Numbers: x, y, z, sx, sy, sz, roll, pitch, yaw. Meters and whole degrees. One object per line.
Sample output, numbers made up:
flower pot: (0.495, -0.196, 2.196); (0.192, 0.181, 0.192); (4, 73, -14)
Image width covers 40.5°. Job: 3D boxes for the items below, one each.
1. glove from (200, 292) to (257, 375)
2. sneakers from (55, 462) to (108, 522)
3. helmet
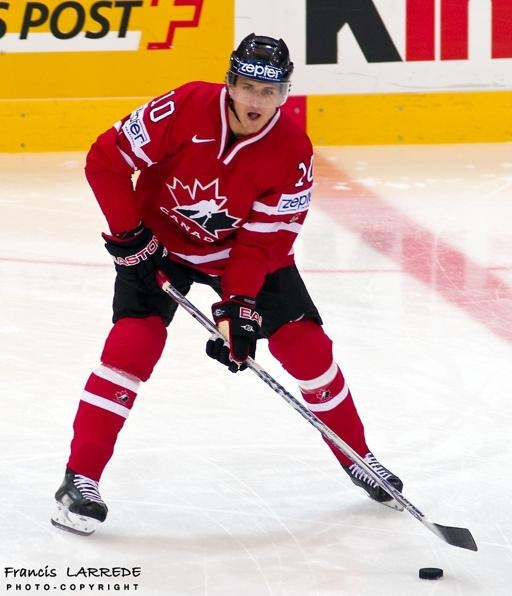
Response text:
glove: (-0.053, 0.072, 1.480); (0.119, 0.156, 0.116); (12, 18, 4)
sneakers: (-0.363, 0.394, 1.390); (0.062, 0.055, 0.168); (-3, 6, -36)
helmet: (0.010, -0.484, 1.441); (0.137, 0.118, 0.144); (11, 19, -3)
